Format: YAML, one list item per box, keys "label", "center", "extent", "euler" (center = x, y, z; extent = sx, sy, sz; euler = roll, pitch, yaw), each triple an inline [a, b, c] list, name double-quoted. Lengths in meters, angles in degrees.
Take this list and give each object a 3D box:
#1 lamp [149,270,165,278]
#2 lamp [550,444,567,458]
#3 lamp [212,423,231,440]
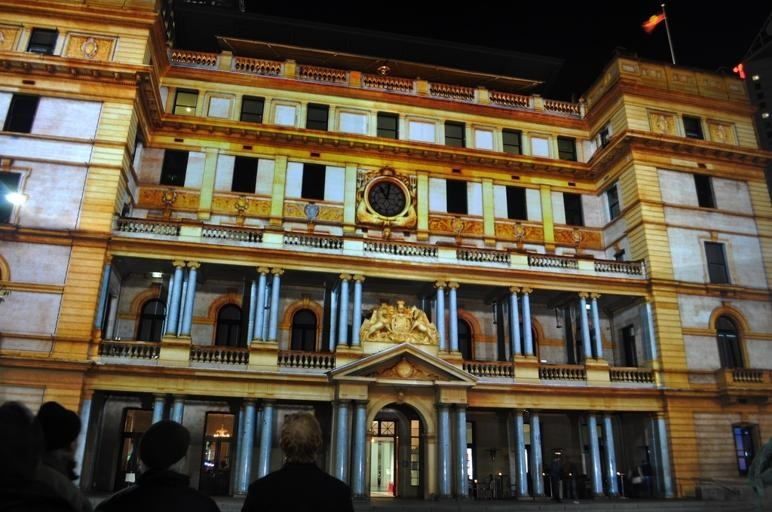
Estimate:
- label: "lamp"
  center: [-13.019, 1.028, 40.350]
  extent: [0.713, 0.338, 0.450]
  euler: [3, -8, -8]
- label: "lamp"
  center: [10.178, 11.613, 41.924]
  extent: [1.178, 0.943, 0.584]
  euler: [2, -14, 5]
- label: "lamp"
  center: [-9.064, 9.665, 39.365]
  extent: [0.701, 0.678, 0.705]
  euler: [-27, -44, 35]
